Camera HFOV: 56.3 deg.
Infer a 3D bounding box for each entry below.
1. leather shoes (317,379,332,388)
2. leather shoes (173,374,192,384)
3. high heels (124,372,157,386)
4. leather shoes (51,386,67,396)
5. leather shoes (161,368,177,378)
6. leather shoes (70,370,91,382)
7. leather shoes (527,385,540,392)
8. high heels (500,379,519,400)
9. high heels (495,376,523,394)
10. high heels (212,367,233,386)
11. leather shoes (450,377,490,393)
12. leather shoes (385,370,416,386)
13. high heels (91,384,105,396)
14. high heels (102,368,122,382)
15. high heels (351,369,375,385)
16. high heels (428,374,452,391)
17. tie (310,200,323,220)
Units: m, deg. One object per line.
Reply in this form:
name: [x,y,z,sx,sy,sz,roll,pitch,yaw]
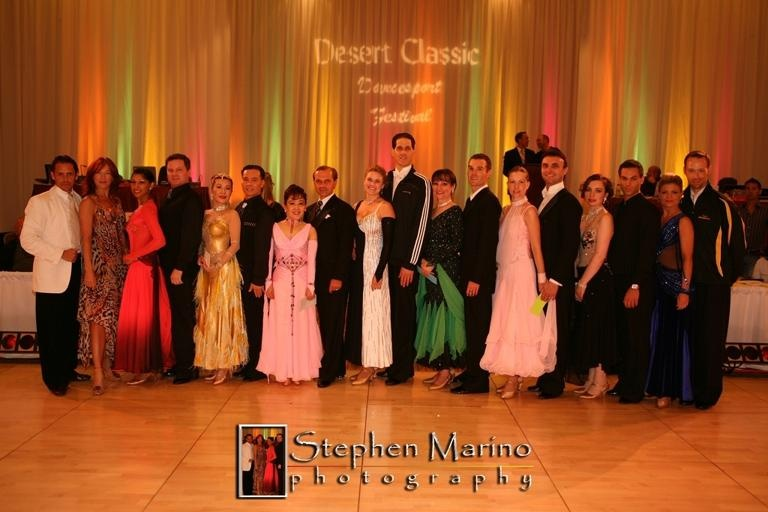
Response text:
leather shoes: [-0.647,1.377,7.689,0.164,0.077,0.058,1,1,-13]
leather shoes: [-2.182,1.330,7.710,0.147,0.044,0.090,-7,9,-40]
high heels: [-2.631,1.329,7.744,0.258,0.115,0.150,4,1,-11]
leather shoes: [-3.377,1.400,7.417,0.165,0.080,0.154,-4,6,-25]
leather shoes: [-2.382,1.297,7.891,0.086,0.083,0.177,2,-11,-14]
leather shoes: [-3.331,1.324,7.840,0.259,0.114,0.081,-4,-5,44]
leather shoes: [1.616,1.439,7.720,0.144,0.063,0.061,10,-40,-23]
high heels: [1.326,1.380,7.528,0.215,0.192,0.208,-1,5,9]
high heels: [1.325,1.372,7.569,0.154,0.122,0.279,3,9,44]
high heels: [-1.770,1.275,7.804,0.200,0.166,0.326,-2,5,-6]
leather shoes: [0.920,1.362,7.616,0.318,0.131,0.188,4,-2,1]
leather shoes: [0.169,1.315,7.815,0.365,0.184,0.128,-5,3,-4]
high heels: [-2.987,1.381,7.469,0.118,0.096,0.186,-4,6,-23]
high heels: [-2.971,1.305,7.804,0.225,0.065,0.091,30,10,21]
high heels: [-0.228,1.318,7.838,0.230,0.103,0.129,-9,12,-38]
high heels: [0.615,1.362,7.716,0.109,0.150,0.329,0,1,40]
tie: [-0.743,-0.482,7.814,0.046,0.202,0.168,23,5,-40]
